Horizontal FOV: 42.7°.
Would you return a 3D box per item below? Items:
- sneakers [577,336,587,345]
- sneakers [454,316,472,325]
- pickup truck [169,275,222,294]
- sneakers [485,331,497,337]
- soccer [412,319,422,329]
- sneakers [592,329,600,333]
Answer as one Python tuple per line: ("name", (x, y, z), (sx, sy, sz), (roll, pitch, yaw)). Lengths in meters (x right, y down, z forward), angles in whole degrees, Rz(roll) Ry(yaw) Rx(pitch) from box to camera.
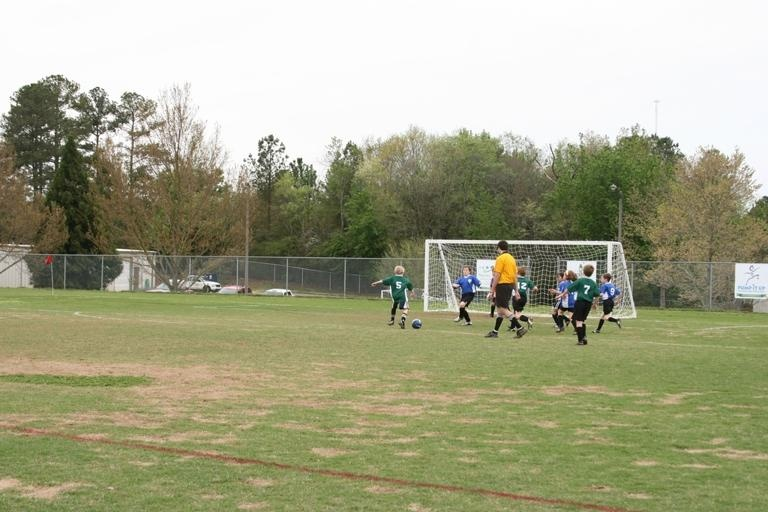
("sneakers", (5.551, 2.324, 27.443), (0.272, 0.264, 0.382), (4, 13, 11))
("sneakers", (2.694, 2.194, 33.518), (0.584, 0.239, 0.211), (6, -8, 5))
("pickup truck", (-10.782, 1.607, 57.105), (2.220, 0.779, 0.985), (-1, 2, -4))
("sneakers", (3.114, 2.267, 28.668), (0.133, 0.156, 0.355), (3, -3, -37))
("soccer", (1.041, 2.125, 31.247), (0.276, 0.201, 0.253), (2, -9, -26))
("sneakers", (6.689, 2.329, 30.989), (0.187, 0.087, 0.257), (0, -1, 5))
